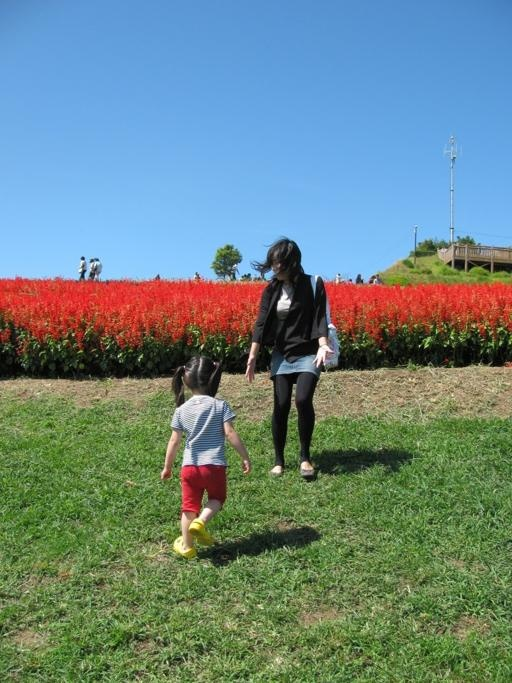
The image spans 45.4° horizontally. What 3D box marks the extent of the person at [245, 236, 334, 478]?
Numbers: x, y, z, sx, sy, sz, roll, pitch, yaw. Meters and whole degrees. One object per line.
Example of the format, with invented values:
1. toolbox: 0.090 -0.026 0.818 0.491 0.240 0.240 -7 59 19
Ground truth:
1. person: 0.282 0.149 4.745 0.677 1.837 0.561 0 3 27

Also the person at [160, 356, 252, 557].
1. person: -0.317 0.665 3.551 0.392 1.130 0.447 -3 3 -36

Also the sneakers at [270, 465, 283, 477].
1. sneakers: 0.166 1.028 4.823 0.046 0.060 0.136 29 -22 16

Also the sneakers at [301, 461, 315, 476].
1. sneakers: 0.393 0.997 4.710 0.109 0.122 0.088 -1 2 2

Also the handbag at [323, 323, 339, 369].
1. handbag: 0.569 0.040 4.703 0.092 0.257 0.078 -11 15 5

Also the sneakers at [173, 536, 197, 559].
1. sneakers: -0.418 1.200 3.516 0.083 0.056 0.145 -10 26 -26

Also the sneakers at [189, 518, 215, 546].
1. sneakers: -0.301 1.050 3.380 0.086 0.202 0.093 -20 38 11
